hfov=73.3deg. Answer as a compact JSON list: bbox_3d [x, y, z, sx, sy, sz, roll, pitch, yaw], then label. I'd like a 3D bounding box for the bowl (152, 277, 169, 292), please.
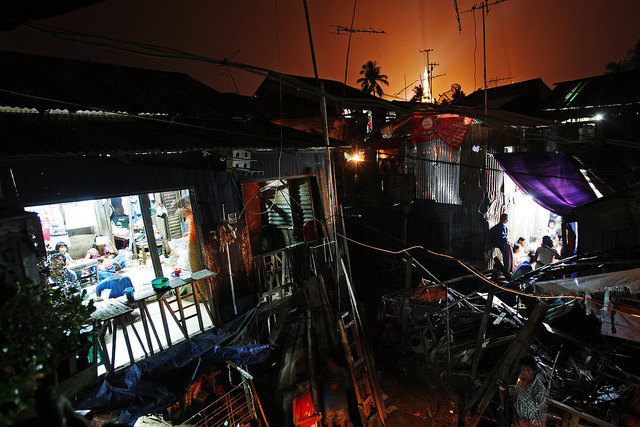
[{"bbox_3d":[-4.212,1.891,11.389,0.426,0.319,0.358,-8,8,-19],"label":"bowl"}]

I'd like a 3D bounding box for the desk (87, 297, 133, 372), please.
[{"bbox_3d":[-5.239,3.085,10.925,0.891,1.601,1.823,-9,8,-25],"label":"desk"}]
